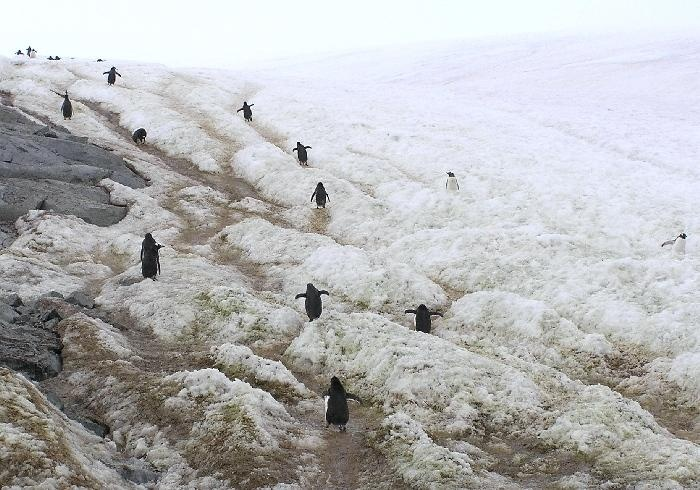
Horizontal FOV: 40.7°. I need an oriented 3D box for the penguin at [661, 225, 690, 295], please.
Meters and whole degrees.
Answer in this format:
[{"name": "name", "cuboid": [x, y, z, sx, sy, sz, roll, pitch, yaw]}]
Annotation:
[{"name": "penguin", "cuboid": [16.117, -0.121, 46.208, 1.442, 1.332, 1.090, 27, 54, 11]}]
